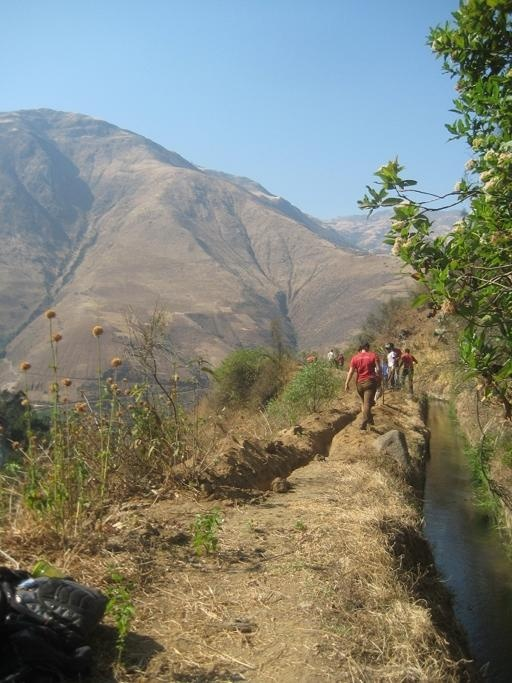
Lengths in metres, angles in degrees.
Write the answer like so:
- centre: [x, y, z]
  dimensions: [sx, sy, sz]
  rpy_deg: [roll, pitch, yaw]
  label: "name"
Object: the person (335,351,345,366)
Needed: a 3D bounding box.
- centre: [3.882, 0.763, 28.702]
  dimensions: [0.212, 0.357, 0.779]
  rpy_deg: [21, 4, 19]
  label: "person"
